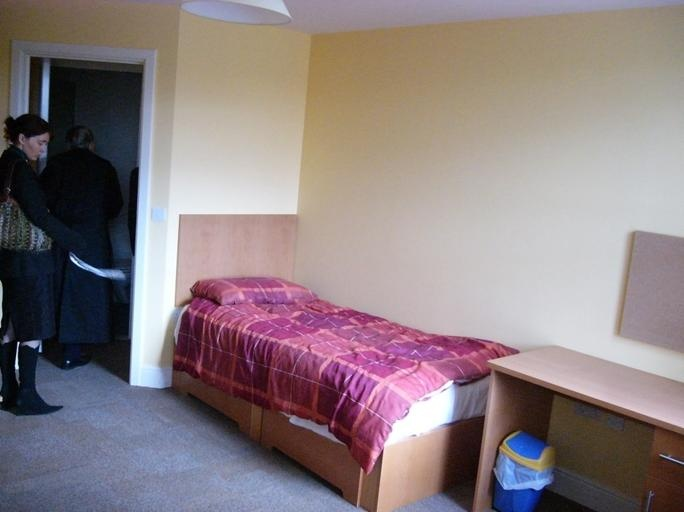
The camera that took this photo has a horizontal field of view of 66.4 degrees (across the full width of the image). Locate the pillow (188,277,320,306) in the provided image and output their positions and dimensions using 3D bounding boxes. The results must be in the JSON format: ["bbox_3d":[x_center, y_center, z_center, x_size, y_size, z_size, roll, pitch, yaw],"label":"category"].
[{"bbox_3d":[-0.738,0.284,4.207,0.566,0.141,0.395,7,-4,-33],"label":"pillow"}]

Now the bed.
[{"bbox_3d":[-0.067,0.878,3.348,0.911,0.493,1.286,-3,6,-41],"label":"bed"}]
